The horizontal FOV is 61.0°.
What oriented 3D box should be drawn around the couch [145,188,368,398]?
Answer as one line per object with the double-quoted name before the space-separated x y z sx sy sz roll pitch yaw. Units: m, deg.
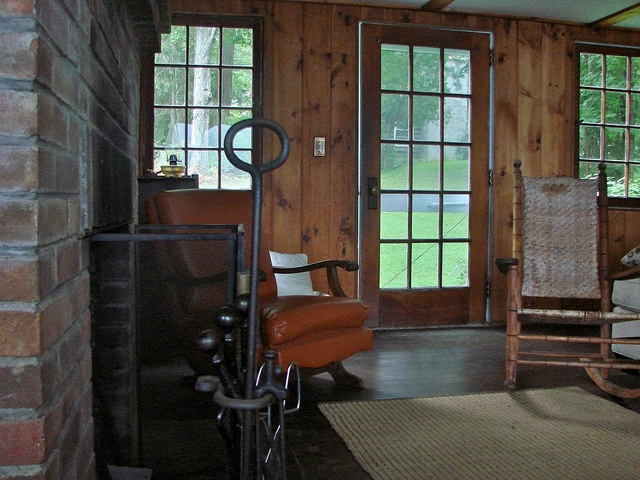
"couch" -0.292 0.196 2.431 0.674 0.645 0.898 -7 17 -42
